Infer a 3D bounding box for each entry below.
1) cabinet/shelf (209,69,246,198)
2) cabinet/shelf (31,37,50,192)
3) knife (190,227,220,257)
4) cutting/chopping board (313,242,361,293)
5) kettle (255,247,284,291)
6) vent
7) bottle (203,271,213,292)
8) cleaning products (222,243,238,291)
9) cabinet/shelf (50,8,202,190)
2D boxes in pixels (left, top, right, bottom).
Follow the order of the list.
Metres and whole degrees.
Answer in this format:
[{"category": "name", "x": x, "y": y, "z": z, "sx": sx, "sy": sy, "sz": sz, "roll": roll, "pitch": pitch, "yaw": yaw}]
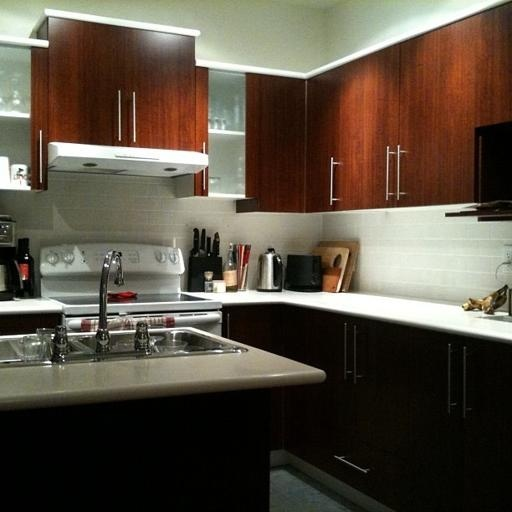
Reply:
[{"category": "cabinet/shelf", "x": -0.217, "y": -0.791, "z": 3.211, "sx": 0.310, "sy": 0.850, "sz": 0.090, "roll": 3, "pitch": 31, "yaw": -1}, {"category": "cabinet/shelf", "x": -1.197, "y": -0.734, "z": 2.663, "sx": 0.088, "sy": 0.749, "sz": 0.152, "roll": 0, "pitch": 12, "yaw": -27}, {"category": "knife", "x": -0.357, "y": -0.088, "z": 3.439, "sx": 0.213, "sy": 0.192, "sz": 0.132, "roll": 5, "pitch": 12, "yaw": -11}, {"category": "cutting/chopping board", "x": 0.600, "y": 0.081, "z": 3.504, "sx": 0.071, "sy": 0.340, "sz": 0.303, "roll": 13, "pitch": -9, "yaw": -37}, {"category": "kettle", "x": 0.101, "y": 0.115, "z": 3.365, "sx": 0.191, "sy": 0.356, "sz": 0.252, "roll": 0, "pitch": 2, "yaw": -6}, {"category": "vent", "x": -0.764, "y": -0.545, "z": 2.925, "sx": 0.915, "sy": 0.242, "sz": 0.576, "roll": 2, "pitch": 13, "yaw": -25}, {"category": "bottle", "x": -0.328, "y": 0.183, "z": 3.330, "sx": 0.063, "sy": 0.134, "sz": 0.089, "roll": 4, "pitch": 12, "yaw": -11}, {"category": "cleaning products", "x": -0.175, "y": 0.083, "z": 3.431, "sx": 0.113, "sy": 0.298, "sz": 0.253, "roll": 5, "pitch": 12, "yaw": -8}, {"category": "cabinet/shelf", "x": -0.780, "y": -0.889, "z": 2.835, "sx": 1.013, "sy": 1.094, "sz": 0.409, "roll": 0, "pitch": -3, "yaw": -25}]
